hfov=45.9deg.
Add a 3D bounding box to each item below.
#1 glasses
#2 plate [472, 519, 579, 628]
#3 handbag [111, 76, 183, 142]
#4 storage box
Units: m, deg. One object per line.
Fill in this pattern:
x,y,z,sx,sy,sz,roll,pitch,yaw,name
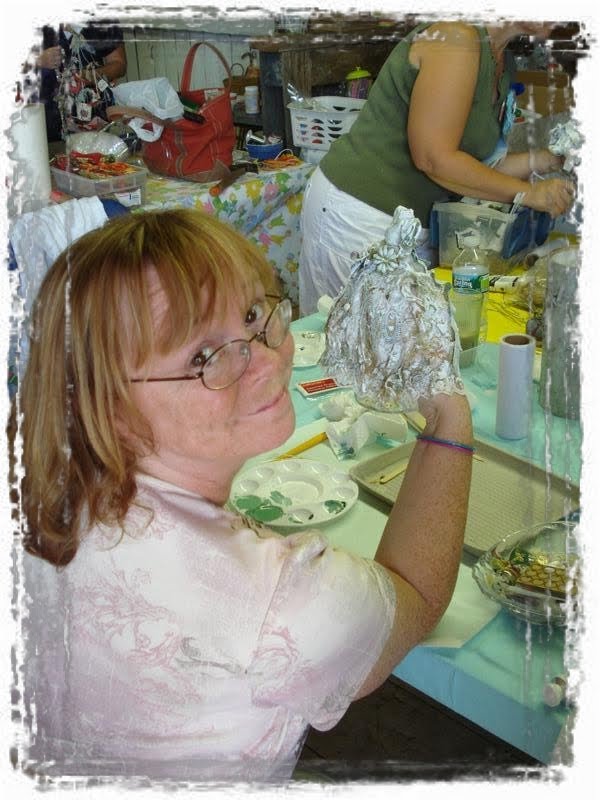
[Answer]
-0.076,-0.045,0.630,0.103,0.029,0.094,1,40,30,glasses
0.248,0.183,0.771,0.072,0.097,0.127,-12,14,-37,plate
-0.171,-0.322,0.799,0.047,0.040,0.057,-30,36,-25,handbag
0.321,-0.326,1.466,0.198,0.128,0.165,-1,1,-15,storage box
